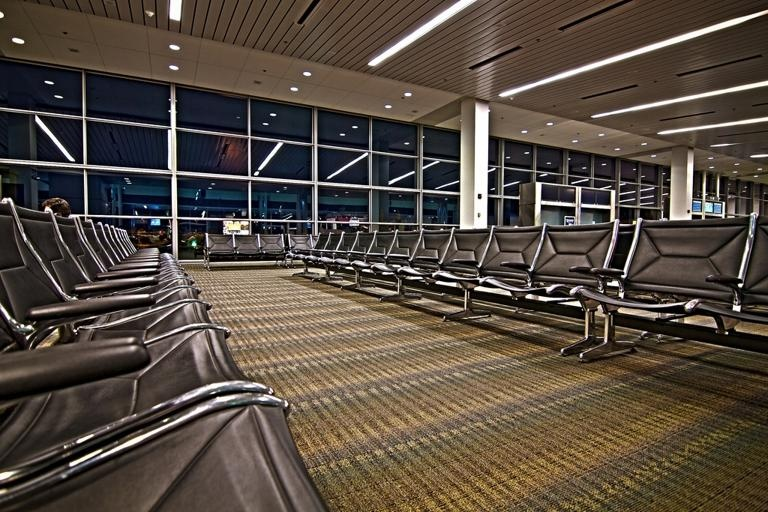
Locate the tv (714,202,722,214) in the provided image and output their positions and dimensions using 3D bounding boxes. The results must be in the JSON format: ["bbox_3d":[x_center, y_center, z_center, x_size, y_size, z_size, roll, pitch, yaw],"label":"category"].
[{"bbox_3d":[11.129,-1.644,14.662,0.653,0.317,0.077,3,-19,-34],"label":"tv"}]

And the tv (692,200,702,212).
[{"bbox_3d":[9.585,-1.571,13.475,0.584,0.288,0.070,-9,-9,-32],"label":"tv"}]
